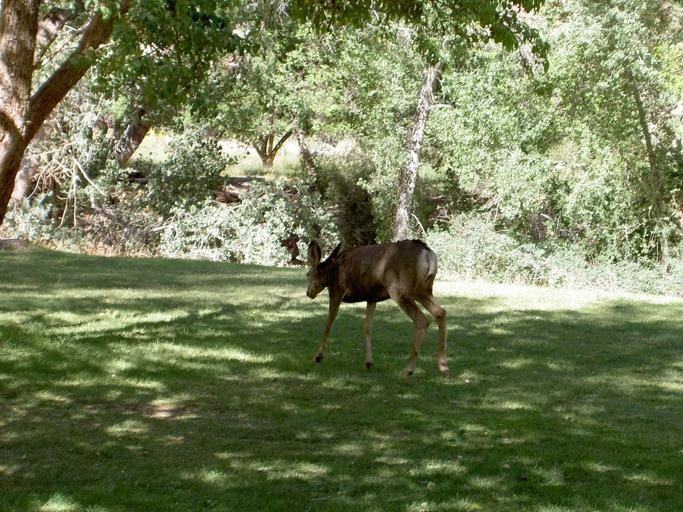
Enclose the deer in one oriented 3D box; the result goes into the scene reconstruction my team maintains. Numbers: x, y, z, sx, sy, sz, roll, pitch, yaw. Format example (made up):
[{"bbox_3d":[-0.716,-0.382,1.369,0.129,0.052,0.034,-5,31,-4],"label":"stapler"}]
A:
[{"bbox_3d":[0.531,0.691,12.393,2.541,2.028,0.875,9,11,37],"label":"deer"}]
